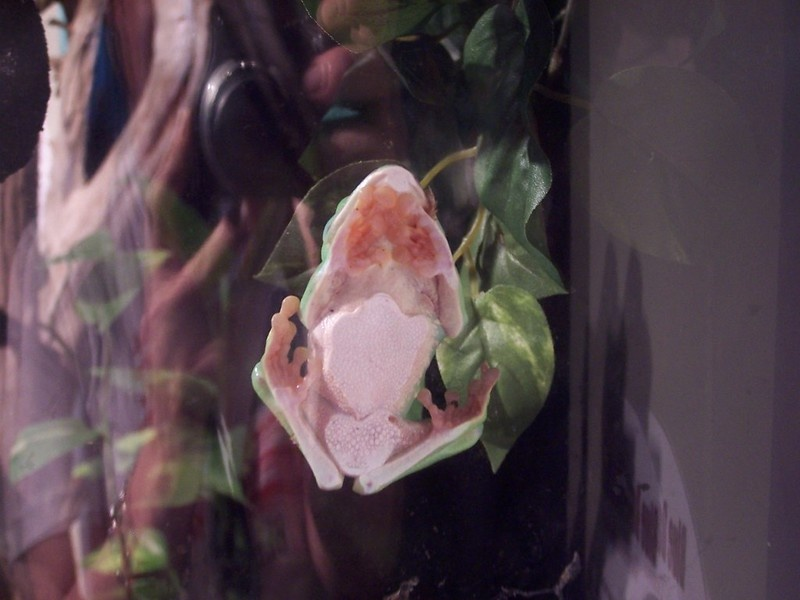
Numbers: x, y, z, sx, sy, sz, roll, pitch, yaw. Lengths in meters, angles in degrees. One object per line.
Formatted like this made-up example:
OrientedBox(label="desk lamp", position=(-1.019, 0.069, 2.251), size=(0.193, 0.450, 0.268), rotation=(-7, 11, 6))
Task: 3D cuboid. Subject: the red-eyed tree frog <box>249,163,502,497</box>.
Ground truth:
OrientedBox(label="red-eyed tree frog", position=(-0.036, -0.053, 1.527), size=(0.415, 0.397, 0.546), rotation=(-8, 37, -7))
